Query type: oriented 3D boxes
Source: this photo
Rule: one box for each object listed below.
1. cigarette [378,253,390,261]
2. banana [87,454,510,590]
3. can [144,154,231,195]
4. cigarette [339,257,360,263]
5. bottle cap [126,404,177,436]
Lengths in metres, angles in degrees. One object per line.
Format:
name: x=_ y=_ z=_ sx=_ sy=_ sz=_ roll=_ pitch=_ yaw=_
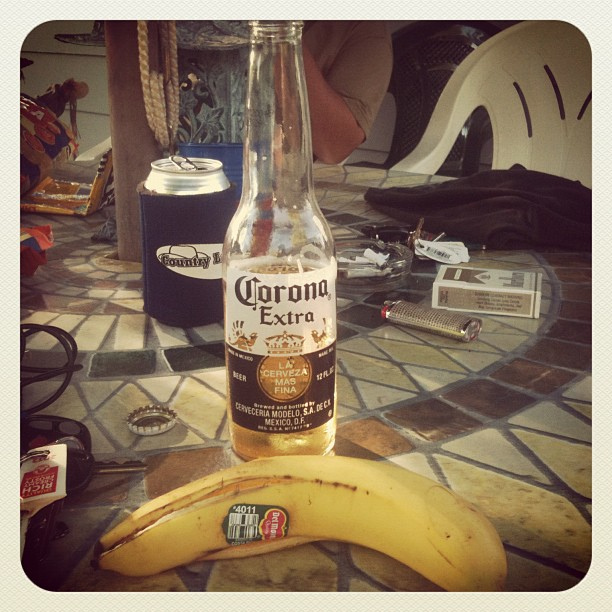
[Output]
cigarette: x=0.152 y=-0.097 z=1.066 sx=0.017 sy=0.004 sz=0.017 roll=-16 pitch=38 yaw=-42
banana: x=-0.001 y=0.156 z=0.411 sx=0.286 sy=0.055 sz=0.095 roll=0 pitch=32 yaw=7
can: x=-0.175 y=-0.191 z=0.794 sx=0.116 sy=0.052 sz=0.121 roll=1 pitch=15 yaw=0
cigarette: x=0.083 y=-0.089 z=1.054 sx=0.037 sy=0.011 sz=0.010 roll=6 pitch=21 yaw=16
bottle cap: x=-0.169 y=0.125 z=0.601 sx=0.054 sy=0.010 sz=0.057 roll=-10 pitch=18 yaw=-36
